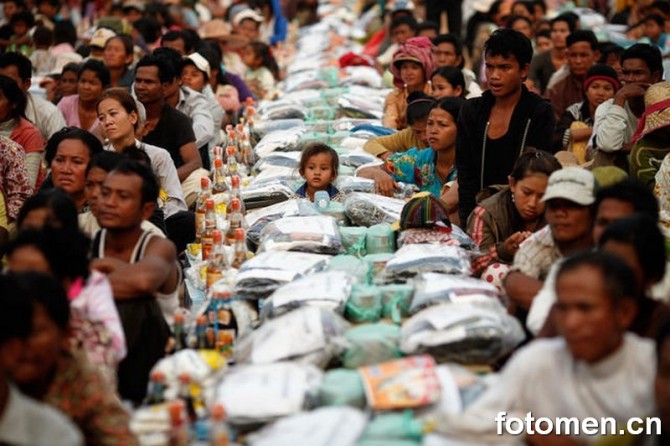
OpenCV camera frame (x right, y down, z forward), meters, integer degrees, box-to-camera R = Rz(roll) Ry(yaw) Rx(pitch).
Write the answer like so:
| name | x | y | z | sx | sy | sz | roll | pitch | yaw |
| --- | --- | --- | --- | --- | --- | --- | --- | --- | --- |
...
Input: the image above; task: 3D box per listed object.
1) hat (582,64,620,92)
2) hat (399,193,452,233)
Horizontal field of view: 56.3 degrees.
| name | x | y | z | sx | sy | sz | roll | pitch | yaw |
| --- | --- | --- | --- | --- | --- | --- | --- | --- | --- |
| hat | 2.822 | -1.539 | 6.658 | 0.337 | 0.250 | 0.334 | 3 | -1 | 6 |
| hat | 0.624 | -0.089 | 4.890 | 0.368 | 0.273 | 0.564 | 2 | 3 | -39 |
